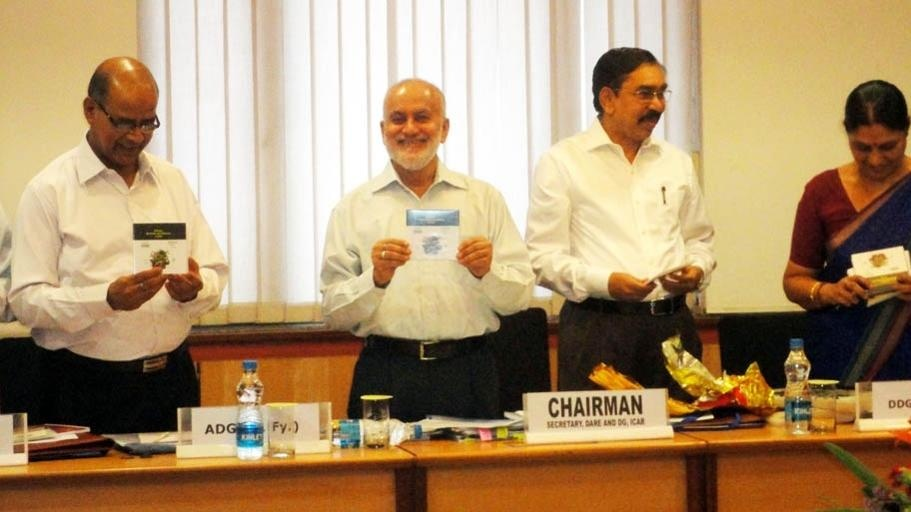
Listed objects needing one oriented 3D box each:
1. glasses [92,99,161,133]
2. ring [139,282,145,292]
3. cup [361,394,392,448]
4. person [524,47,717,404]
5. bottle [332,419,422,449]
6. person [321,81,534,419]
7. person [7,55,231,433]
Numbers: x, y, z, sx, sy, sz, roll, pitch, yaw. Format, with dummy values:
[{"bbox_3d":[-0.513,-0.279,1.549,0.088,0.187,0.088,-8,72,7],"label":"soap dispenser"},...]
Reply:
[{"bbox_3d":[-1.630,-0.692,4.622,0.294,0.170,0.107,-5,4,-22],"label":"glasses"},{"bbox_3d":[-1.514,0.152,4.497,0.047,0.045,0.011,1,5,-6],"label":"ring"},{"bbox_3d":[-0.370,0.771,4.297,0.140,0.244,0.077,-3,3,2],"label":"cup"},{"bbox_3d":[0.864,-0.178,4.951,0.964,1.857,0.532,-2,3,14],"label":"person"},{"bbox_3d":[-0.366,0.844,4.372,0.265,0.091,0.189,1,-4,-8],"label":"bottle"},{"bbox_3d":[-0.147,-0.023,4.757,1.087,1.758,0.447,-4,3,-10],"label":"person"},{"bbox_3d":[-1.716,-0.033,4.700,1.025,1.907,0.593,-4,4,-15],"label":"person"}]
